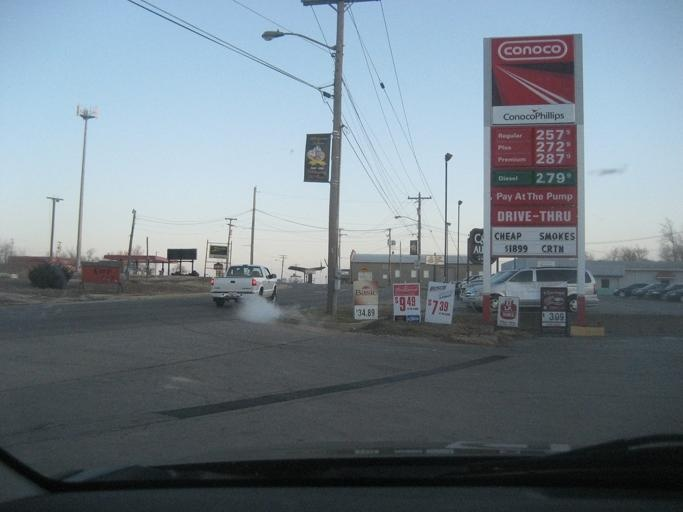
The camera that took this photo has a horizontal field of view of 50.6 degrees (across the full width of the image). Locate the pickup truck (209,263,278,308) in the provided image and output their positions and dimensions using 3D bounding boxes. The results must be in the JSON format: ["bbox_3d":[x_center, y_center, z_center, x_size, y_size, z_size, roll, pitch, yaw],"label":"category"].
[{"bbox_3d":[-3.553,0.978,29.358,2.656,1.834,4.858,0,3,16],"label":"pickup truck"}]

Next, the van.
[{"bbox_3d":[7.005,1.125,26.535,4.230,1.505,1.960,2,-2,11],"label":"van"}]
